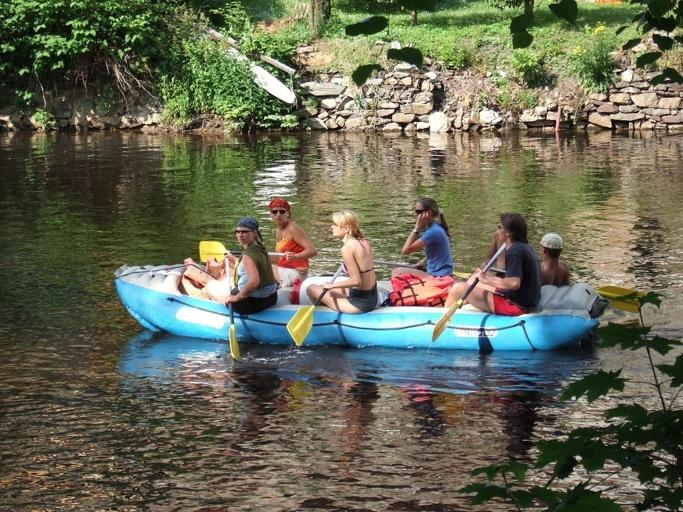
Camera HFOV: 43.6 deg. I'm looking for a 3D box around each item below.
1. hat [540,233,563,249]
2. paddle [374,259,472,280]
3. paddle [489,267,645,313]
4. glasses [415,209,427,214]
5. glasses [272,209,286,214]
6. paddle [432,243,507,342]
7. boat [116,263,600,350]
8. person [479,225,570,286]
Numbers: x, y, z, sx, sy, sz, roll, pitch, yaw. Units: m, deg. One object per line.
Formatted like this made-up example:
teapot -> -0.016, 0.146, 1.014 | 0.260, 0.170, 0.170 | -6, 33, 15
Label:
hat -> 2.219, -0.164, 9.013 | 0.263, 0.109, 0.250 | 2, 15, -8
paddle -> 0.957, 0.192, 9.873 | 1.151, 0.099, 0.321 | 4, 5, -20
paddle -> 2.234, 0.362, 8.688 | 0.887, 0.199, 0.545 | 12, 14, 30
glasses -> 0.868, -0.489, 9.435 | 0.091, 0.017, 0.068 | 8, -6, -14
glasses -> -0.685, -0.485, 9.349 | 0.147, 0.047, 0.054 | -2, 8, -3
paddle -> 1.301, 0.372, 8.702 | 0.438, 0.987, 0.897 | 5, 12, 40
boat -> 0.045, 0.489, 9.097 | 4.866, 0.491, 1.378 | 1, 3, 12
person -> 2.125, -0.035, 9.333 | 0.717, 0.384, 0.835 | -3, 19, -13
